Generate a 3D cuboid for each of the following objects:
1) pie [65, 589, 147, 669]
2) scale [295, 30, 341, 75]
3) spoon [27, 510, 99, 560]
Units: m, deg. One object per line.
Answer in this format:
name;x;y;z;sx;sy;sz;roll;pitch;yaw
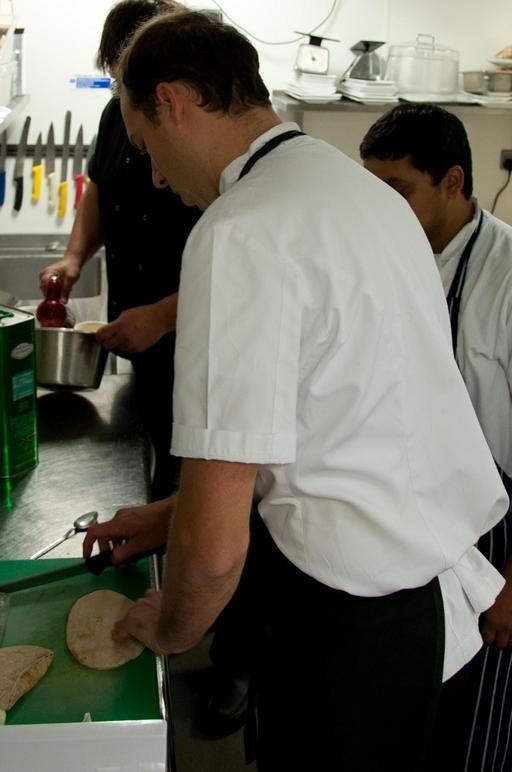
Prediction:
pie;-0.163;0.267;0.691;0.083;0.040;0.084;-6;22;-22
scale;0.251;-1.359;2.584;0.220;0.225;0.137;-6;27;-9
spoon;-0.264;0.210;0.856;0.020;0.013;0.104;43;56;15
